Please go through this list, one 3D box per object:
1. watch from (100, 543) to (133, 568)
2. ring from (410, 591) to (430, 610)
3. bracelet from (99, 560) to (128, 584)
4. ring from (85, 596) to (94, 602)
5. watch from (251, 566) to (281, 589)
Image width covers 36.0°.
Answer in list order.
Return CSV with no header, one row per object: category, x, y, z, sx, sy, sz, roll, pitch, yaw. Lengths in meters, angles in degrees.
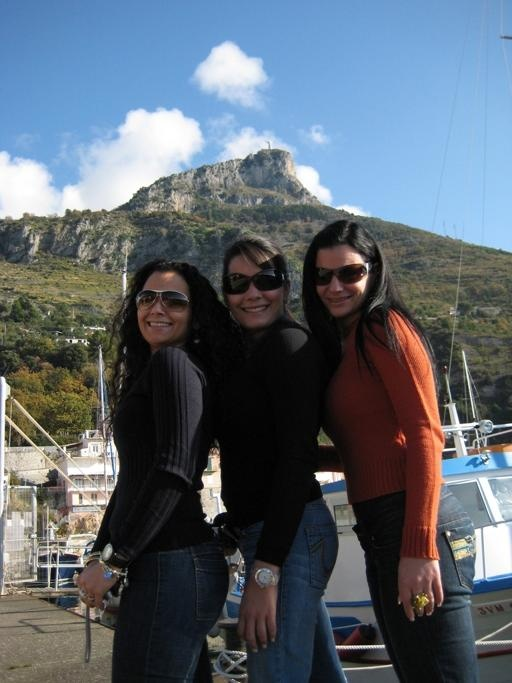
watch,-0.404,0.622,2.268,0.084,0.075,0.091,-1,-13,-11
ring,0.477,0.765,2.336,0.050,0.044,0.023,5,3,20
bracelet,-0.409,0.660,2.257,0.059,0.041,0.076,10,-1,40
ring,-0.486,0.757,2.314,0.020,0.016,0.019,2,-27,1
watch,0.030,0.688,2.338,0.082,0.046,0.073,21,8,15
